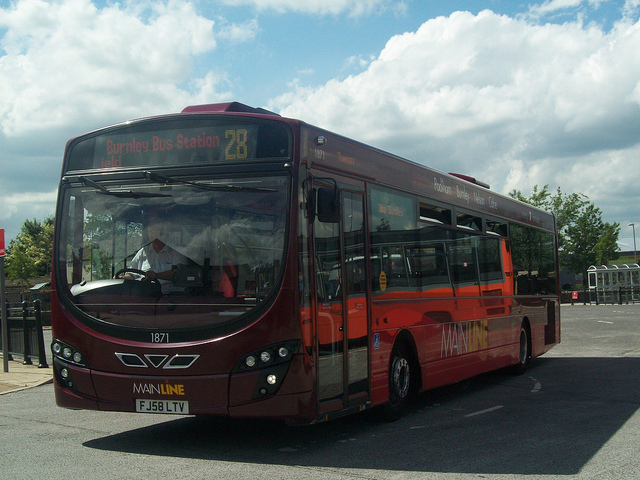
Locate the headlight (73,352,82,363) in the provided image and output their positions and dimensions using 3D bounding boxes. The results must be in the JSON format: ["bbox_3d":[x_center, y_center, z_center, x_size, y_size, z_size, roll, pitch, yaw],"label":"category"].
[{"bbox_3d":[-2.977,1.439,7.404,0.114,0.126,0.039,-1,-5,11],"label":"headlight"}]

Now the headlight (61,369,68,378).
[{"bbox_3d":[-3.189,1.658,7.525,0.116,0.128,0.044,-1,-6,13],"label":"headlight"}]

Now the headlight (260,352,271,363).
[{"bbox_3d":[-0.630,1.318,6.819,0.109,0.121,0.037,1,1,0],"label":"headlight"}]

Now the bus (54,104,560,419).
[{"bbox_3d":[1.361,0.843,12.133,3.555,3.999,12.489,-3,-8,29],"label":"bus"}]

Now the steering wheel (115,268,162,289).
[{"bbox_3d":[-2.251,0.414,7.415,0.328,0.083,0.328,25,-11,5],"label":"steering wheel"}]

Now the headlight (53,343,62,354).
[{"bbox_3d":[-3.305,1.357,7.578,0.124,0.128,0.030,18,7,38],"label":"headlight"}]

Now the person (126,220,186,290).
[{"bbox_3d":[-1.996,0.168,7.274,0.844,0.829,0.519,2,-10,10],"label":"person"}]
